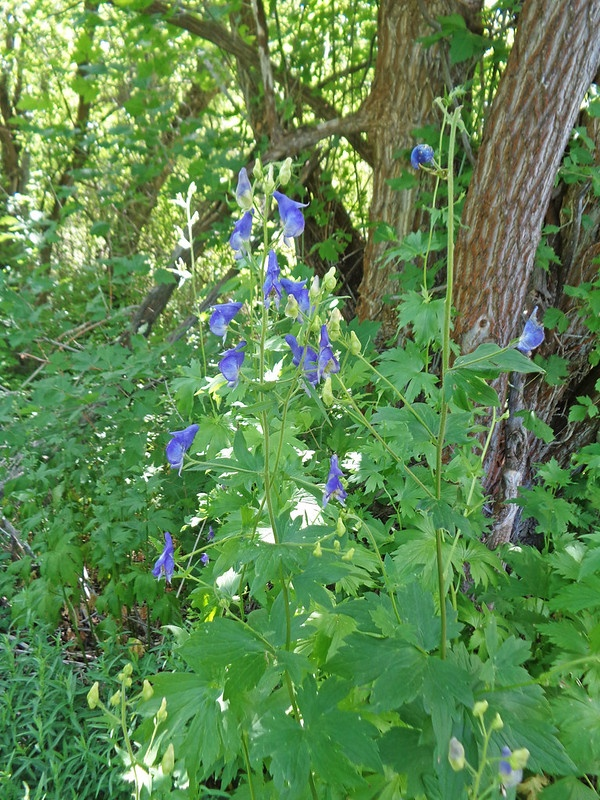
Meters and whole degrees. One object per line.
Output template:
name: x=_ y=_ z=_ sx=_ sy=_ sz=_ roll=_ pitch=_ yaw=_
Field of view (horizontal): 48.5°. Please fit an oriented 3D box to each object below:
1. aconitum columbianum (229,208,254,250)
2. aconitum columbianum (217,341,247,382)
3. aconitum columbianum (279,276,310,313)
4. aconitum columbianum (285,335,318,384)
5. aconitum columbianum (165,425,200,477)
aconitum columbianum: x=-0.173 y=-0.479 z=1.914 sx=0.057 sy=0.112 sz=0.109 roll=4 pitch=13 yaw=-8
aconitum columbianum: x=-0.213 y=-0.109 z=1.940 sx=0.036 sy=0.102 sz=0.082 roll=8 pitch=-22 yaw=46
aconitum columbianum: x=-0.018 y=-0.281 z=1.857 sx=0.088 sy=0.087 sz=0.182 roll=5 pitch=13 yaw=-3
aconitum columbianum: x=-0.011 y=-0.133 z=1.933 sx=0.074 sy=0.155 sz=0.061 roll=-18 pitch=-7 yaw=-12
aconitum columbianum: x=-0.348 y=0.138 z=1.975 sx=0.125 sy=0.136 sz=0.048 roll=18 pitch=-21 yaw=52
